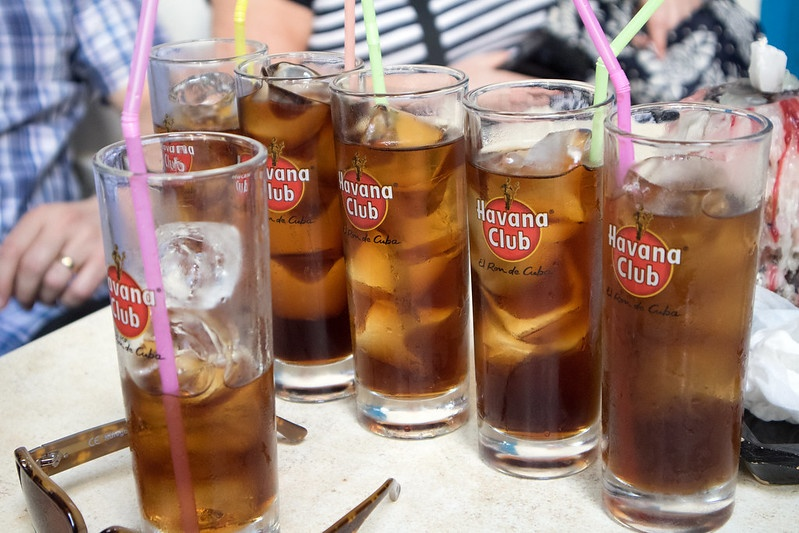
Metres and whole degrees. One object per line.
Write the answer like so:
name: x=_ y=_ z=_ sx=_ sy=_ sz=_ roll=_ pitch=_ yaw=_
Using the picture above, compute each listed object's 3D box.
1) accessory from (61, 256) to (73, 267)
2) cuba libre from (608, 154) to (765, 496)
accessory: x=-0.815 y=-0.011 z=1.827 sx=0.018 sy=0.026 sz=0.018 roll=-18 pitch=12 yaw=37
cuba libre: x=0.283 y=0.062 z=0.775 sx=0.147 sy=0.347 sz=0.137 roll=4 pitch=27 yaw=22
